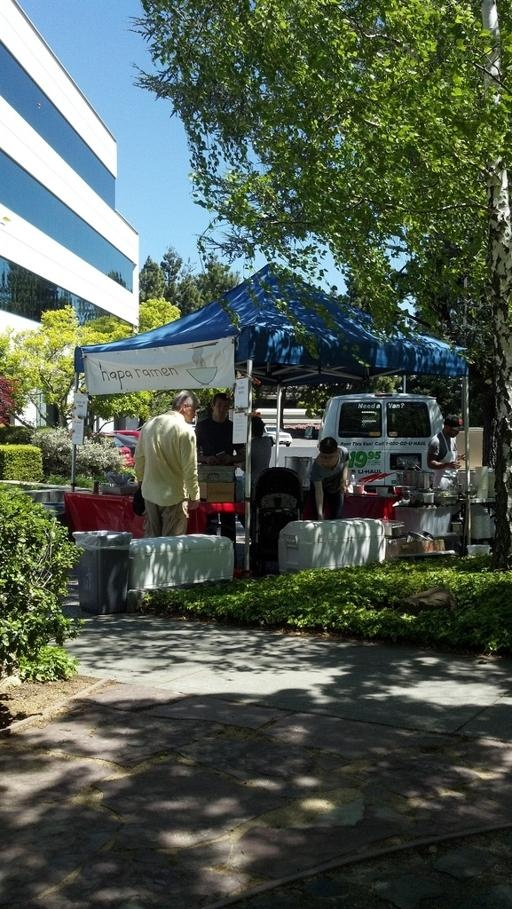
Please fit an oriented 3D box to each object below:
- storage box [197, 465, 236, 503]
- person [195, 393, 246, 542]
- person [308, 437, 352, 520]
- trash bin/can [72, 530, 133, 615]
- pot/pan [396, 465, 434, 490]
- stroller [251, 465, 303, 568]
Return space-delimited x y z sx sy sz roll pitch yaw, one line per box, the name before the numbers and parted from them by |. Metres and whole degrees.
storage box | -0.456 0.327 9.109 0.393 0.406 0.415 0 4 1
person | -0.433 0.120 9.918 0.588 1.834 0.549 1 3 -14
person | 0.830 0.296 9.222 0.398 0.921 0.925 -1 -2 12
trash bin/can | -1.347 1.042 7.059 0.473 0.730 0.403 0 -2 -10
pot/pan | 1.999 0.291 10.061 0.290 0.293 0.386 -1 -2 10
stroller | 0.184 0.745 9.230 0.562 1.124 0.597 3 2 -6
